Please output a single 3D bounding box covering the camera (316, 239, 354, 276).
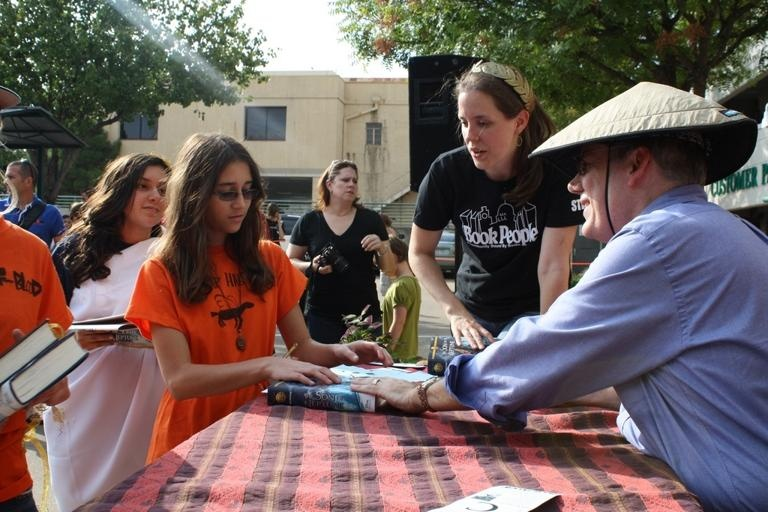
[{"bbox_3d":[-0.456,0.027,6.274,0.231,0.258,0.098,-34,-7,-44],"label":"camera"}]

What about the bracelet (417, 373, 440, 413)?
[{"bbox_3d":[0.194,0.665,3.288,0.152,0.161,0.092,3,-2,-28],"label":"bracelet"}]

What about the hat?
[{"bbox_3d":[1.171,-0.559,2.988,0.624,0.240,0.482,-3,-7,28],"label":"hat"}]
